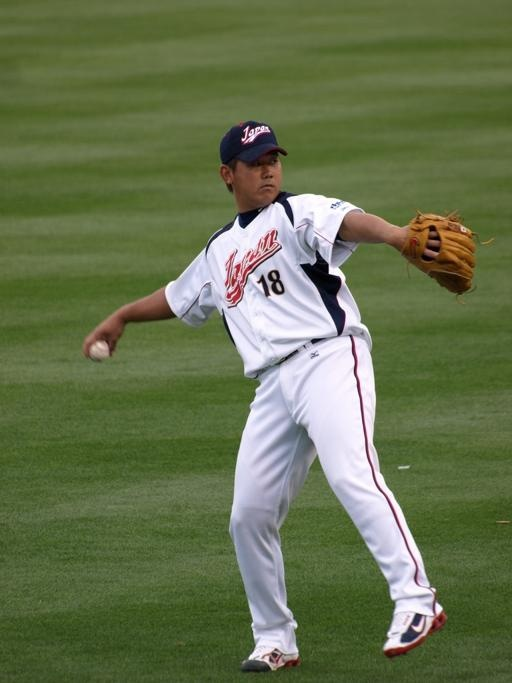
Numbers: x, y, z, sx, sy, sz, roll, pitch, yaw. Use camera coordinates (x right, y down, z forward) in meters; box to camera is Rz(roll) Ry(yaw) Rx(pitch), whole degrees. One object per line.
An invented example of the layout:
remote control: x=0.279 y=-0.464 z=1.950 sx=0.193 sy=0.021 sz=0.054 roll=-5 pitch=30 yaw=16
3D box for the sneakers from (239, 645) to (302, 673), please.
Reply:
sneakers: x=0.056 y=1.327 z=5.891 sx=0.266 sy=0.106 sz=0.092 roll=1 pitch=0 yaw=-21

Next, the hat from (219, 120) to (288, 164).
hat: x=-0.014 y=-0.859 z=6.185 sx=0.195 sy=0.139 sz=0.261 roll=-12 pitch=2 yaw=-34

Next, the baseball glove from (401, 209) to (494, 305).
baseball glove: x=0.771 y=-0.356 z=5.643 sx=0.255 sy=0.342 sz=0.154 roll=-49 pitch=12 yaw=36
